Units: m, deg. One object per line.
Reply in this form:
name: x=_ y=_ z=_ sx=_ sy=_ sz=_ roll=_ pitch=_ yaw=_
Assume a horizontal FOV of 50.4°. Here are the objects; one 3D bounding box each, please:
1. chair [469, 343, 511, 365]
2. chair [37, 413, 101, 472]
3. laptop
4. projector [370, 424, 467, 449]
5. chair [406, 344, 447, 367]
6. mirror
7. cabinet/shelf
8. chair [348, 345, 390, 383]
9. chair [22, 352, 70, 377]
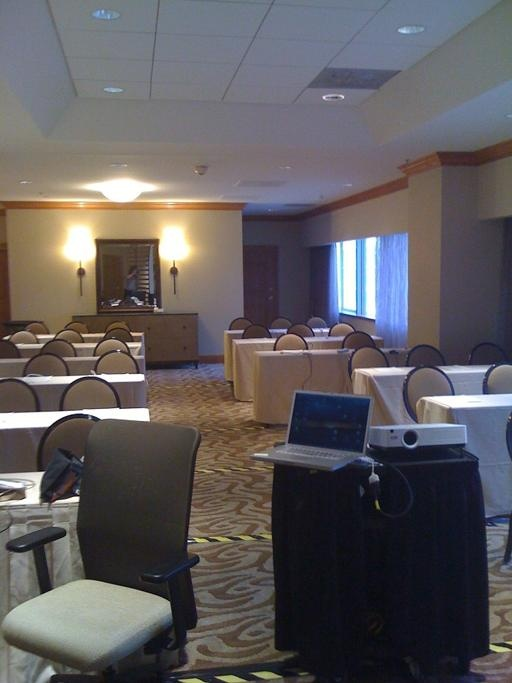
chair: x=2.666 y=0.131 z=6.194 sx=0.369 sy=0.228 sz=0.622 roll=-1 pitch=4 yaw=29
chair: x=-0.986 y=0.489 z=2.829 sx=0.295 sy=0.403 sz=0.306 roll=0 pitch=-3 yaw=-11
laptop: x=0.220 y=0.345 z=2.125 sx=0.442 sy=0.252 sz=0.333 roll=0 pitch=5 yaw=40
projector: x=0.617 y=0.360 z=2.084 sx=0.362 sy=0.082 sz=0.108 roll=-3 pitch=4 yaw=8
chair: x=1.800 y=0.152 z=5.829 sx=0.275 sy=0.219 sz=0.444 roll=0 pitch=5 yaw=42
mirror: x=-2.714 y=-1.404 z=11.303 sx=1.654 sy=1.804 sz=0.086 roll=0 pitch=5 yaw=-7
cabinet/shelf: x=-2.479 y=0.013 z=11.144 sx=2.621 sy=1.029 sz=0.741 roll=-2 pitch=-10 yaw=-13
chair: x=1.251 y=0.254 z=6.111 sx=0.380 sy=0.476 sz=0.373 roll=1 pitch=0 yaw=1
chair: x=-2.194 y=0.244 z=5.769 sx=0.502 sy=0.237 sz=0.267 roll=-2 pitch=4 yaw=24
